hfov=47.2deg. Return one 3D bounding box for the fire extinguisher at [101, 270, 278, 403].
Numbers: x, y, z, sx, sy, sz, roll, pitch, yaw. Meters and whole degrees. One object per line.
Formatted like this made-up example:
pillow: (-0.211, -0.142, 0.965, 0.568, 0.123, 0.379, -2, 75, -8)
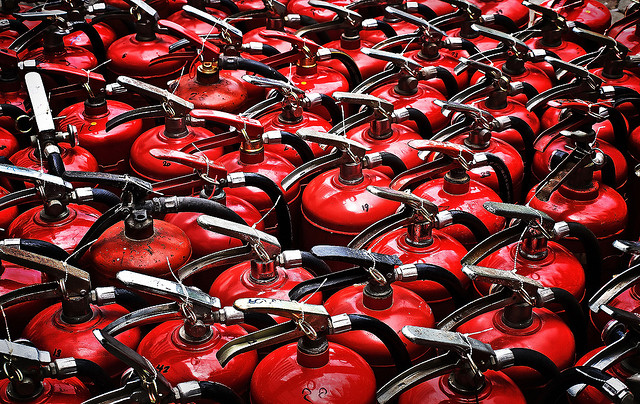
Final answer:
fire extinguisher: (-0.278, 0.266, 1.789, 0.491, 0.400, 0.216, -1, 47, -12)
